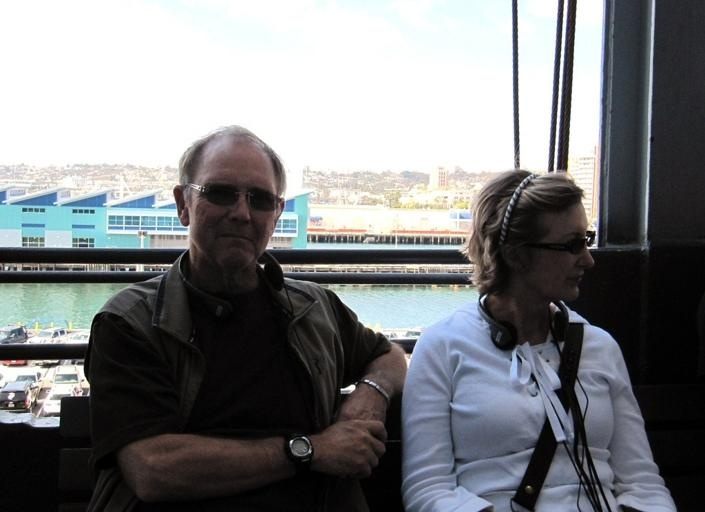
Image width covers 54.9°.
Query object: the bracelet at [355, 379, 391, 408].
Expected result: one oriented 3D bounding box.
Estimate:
[{"bbox_3d":[0.096,0.597,2.938,0.121,0.036,0.121,44,-7,-34],"label":"bracelet"}]
